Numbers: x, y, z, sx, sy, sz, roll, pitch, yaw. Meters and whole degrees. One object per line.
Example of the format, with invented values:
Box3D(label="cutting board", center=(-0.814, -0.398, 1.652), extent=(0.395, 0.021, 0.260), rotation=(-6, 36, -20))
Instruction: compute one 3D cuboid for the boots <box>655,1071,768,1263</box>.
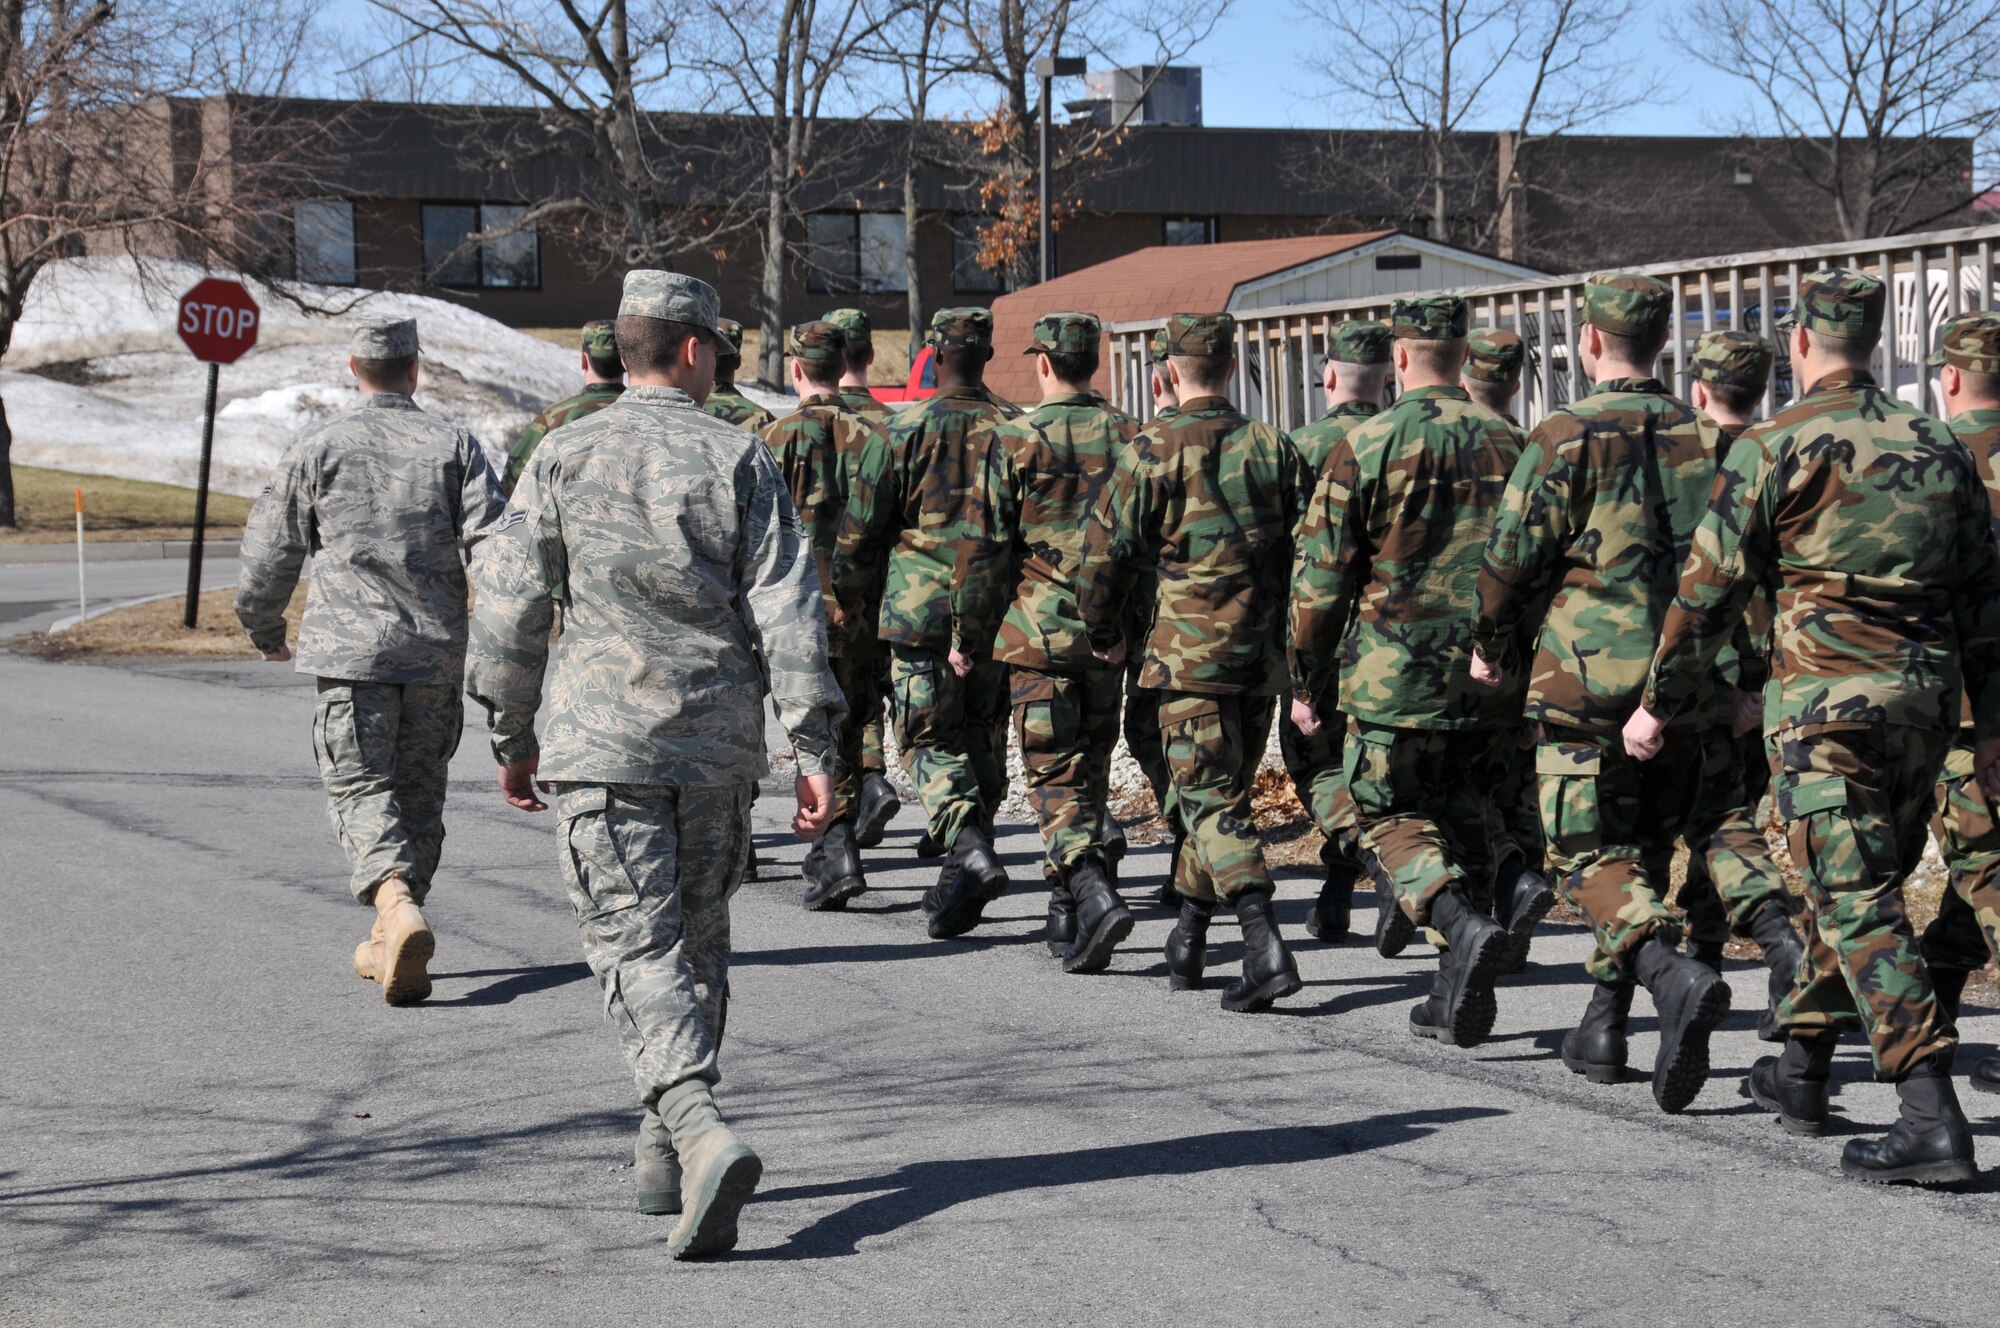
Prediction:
Box3D(label="boots", center=(-1.061, 1.867, 10.363), extent=(0.334, 0.652, 0.348), rotation=(-3, 14, -9))

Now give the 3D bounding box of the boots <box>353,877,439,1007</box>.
Box3D(label="boots", center=(-2.682, 1.273, 12.642), extent=(0.307, 0.440, 0.697), rotation=(0, -29, -16))

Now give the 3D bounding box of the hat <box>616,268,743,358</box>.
Box3D(label="hat", center=(-1.190, -1.363, 10.744), extent=(0.313, 0.178, 0.379), rotation=(8, 9, 30))
